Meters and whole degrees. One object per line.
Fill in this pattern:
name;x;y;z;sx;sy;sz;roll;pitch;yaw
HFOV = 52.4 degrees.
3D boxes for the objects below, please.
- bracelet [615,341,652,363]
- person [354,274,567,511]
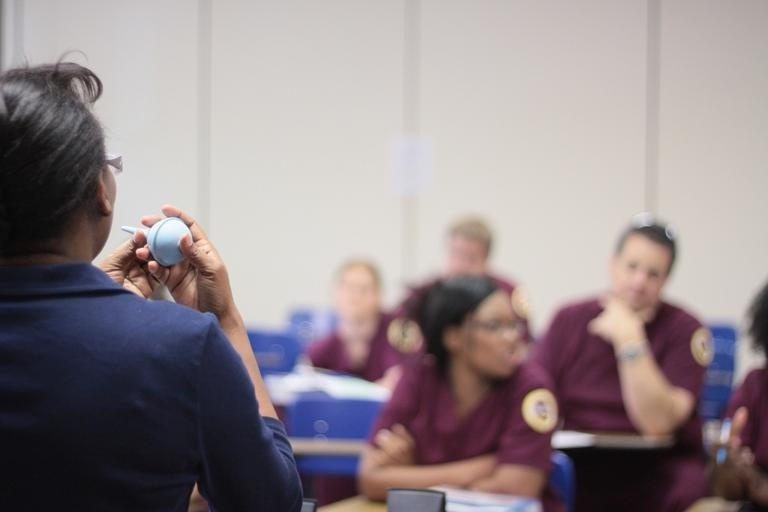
bracelet;0.969;0.379;3.071;0.125;0.068;0.049;-7;-6;4
person;0.283;0.457;3.477;0.970;1.244;0.807;4;-9;18
